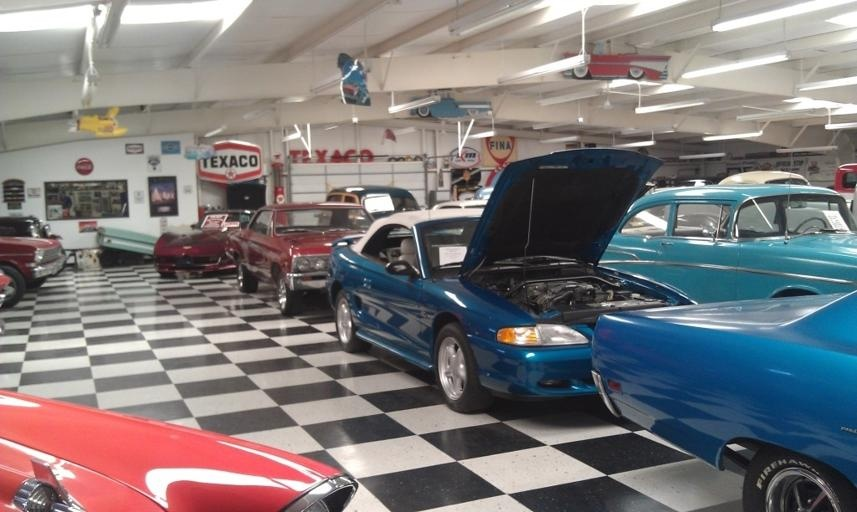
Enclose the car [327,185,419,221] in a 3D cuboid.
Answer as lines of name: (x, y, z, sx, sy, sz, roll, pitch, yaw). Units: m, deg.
car: (-1.448, -1.581, 14.371, 2.923, 0.867, 1.375, -3, 8, -14)
